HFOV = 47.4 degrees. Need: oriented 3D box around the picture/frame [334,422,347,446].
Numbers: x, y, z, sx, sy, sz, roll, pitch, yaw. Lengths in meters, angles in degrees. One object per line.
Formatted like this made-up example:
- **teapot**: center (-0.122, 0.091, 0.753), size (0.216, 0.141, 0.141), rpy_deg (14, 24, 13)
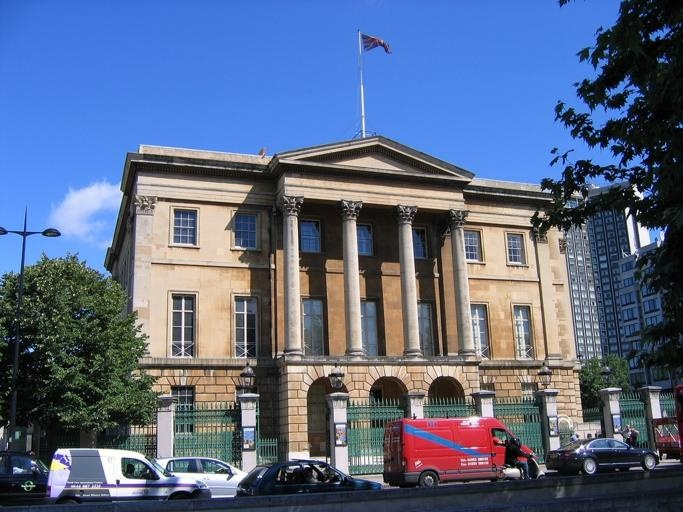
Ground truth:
- **picture/frame**: center (-0.100, 8.255, 35.886), size (0.948, 1.319, 0.130), rpy_deg (7, -21, -24)
